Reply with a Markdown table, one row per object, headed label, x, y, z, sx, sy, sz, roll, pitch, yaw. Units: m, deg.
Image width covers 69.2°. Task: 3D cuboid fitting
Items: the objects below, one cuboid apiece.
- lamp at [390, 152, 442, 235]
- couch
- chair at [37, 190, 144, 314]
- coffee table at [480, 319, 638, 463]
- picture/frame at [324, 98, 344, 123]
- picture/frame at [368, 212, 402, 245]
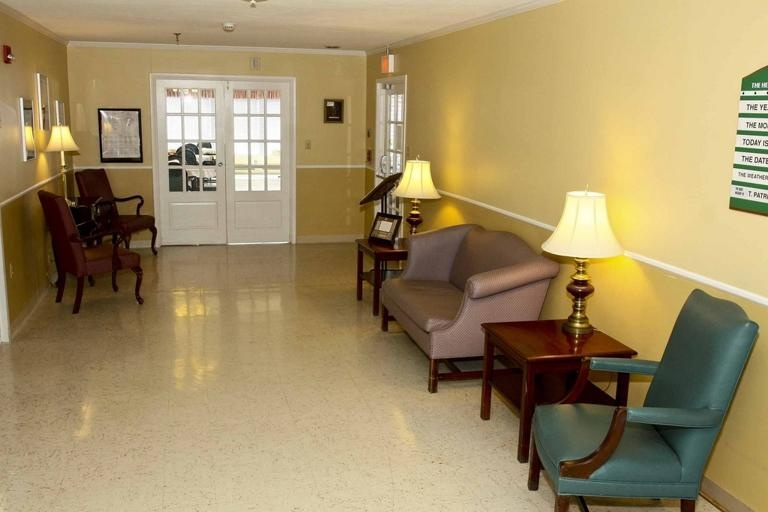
| label | x | y | z | sx | sy | sz | roll | pitch | yaw |
| --- | --- | --- | --- | --- | --- | --- | --- | --- | --- |
| lamp | 0.357 | -0.675 | 6.413 | 0.521 | 0.847 | 1.007 | 1 | 14 | 2 |
| couch | 0.670 | 0.361 | 5.182 | 1.094 | 1.068 | 1.717 | -5 | 15 | -16 |
| chair | -3.435 | -0.073 | 6.340 | 0.938 | 1.280 | 1.024 | 3 | 8 | 24 |
| coffee table | 1.232 | 0.950 | 4.108 | 0.988 | 0.748 | 0.959 | 1 | 9 | 4 |
| picture/frame | -0.829 | -2.350 | 8.936 | 0.427 | 0.446 | 0.049 | 0 | 16 | -20 |
| picture/frame | -0.007 | -0.329 | 6.360 | 0.382 | 0.341 | 0.039 | 9 | 15 | -43 |
